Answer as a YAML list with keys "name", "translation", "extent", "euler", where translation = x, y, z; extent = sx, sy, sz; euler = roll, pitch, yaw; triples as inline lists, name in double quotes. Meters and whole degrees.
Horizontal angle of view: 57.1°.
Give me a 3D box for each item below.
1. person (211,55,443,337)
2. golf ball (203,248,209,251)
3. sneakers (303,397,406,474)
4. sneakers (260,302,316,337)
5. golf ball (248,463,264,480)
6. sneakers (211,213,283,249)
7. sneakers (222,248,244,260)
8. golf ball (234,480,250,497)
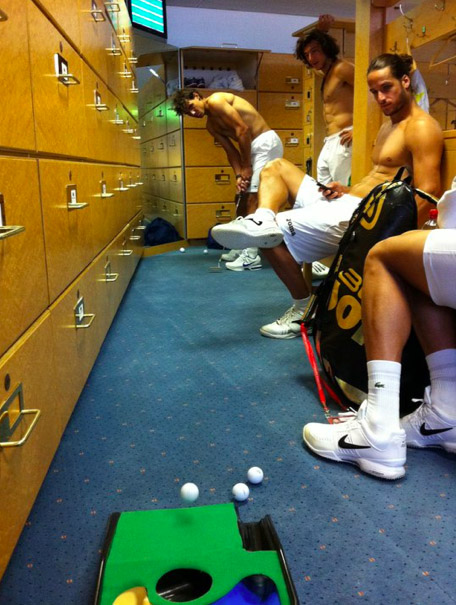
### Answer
- name: "person"
  translation: [0.456, -0.475, 2.034]
  extent: [1.067, 1.325, 0.557]
  euler: [-4, 13, -12]
- name: "golf ball"
  translation: [-0.254, -0.603, 4.842]
  extent: [0.049, 0.040, 0.063]
  euler: [1, 6, -1]
- name: "sneakers"
  translation: [0.305, 0.315, 1.098]
  extent: [0.106, 0.164, 0.312]
  euler: [4, 5, -34]
- name: "sneakers"
  translation: [0.290, 0.082, 2.130]
  extent: [0.321, 0.158, 0.109]
  euler: [-9, 6, -10]
- name: "golf ball"
  translation: [0.061, 0.379, 0.930]
  extent: [0.031, 0.033, 0.033]
  euler: [9, 4, -1]
- name: "sneakers"
  translation: [0.080, -0.285, 2.021]
  extent: [0.335, 0.153, 0.224]
  euler: [5, 48, -2]
- name: "sneakers"
  translation: [0.044, -0.489, 4.319]
  extent: [0.098, 0.114, 0.268]
  euler: [-3, 7, -30]
- name: "golf ball"
  translation: [0.028, 0.388, 0.868]
  extent: [0.030, 0.030, 0.031]
  euler: [4, -5, 0]
